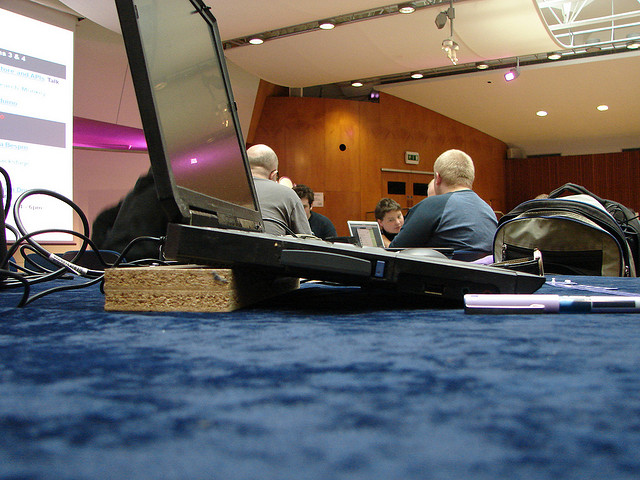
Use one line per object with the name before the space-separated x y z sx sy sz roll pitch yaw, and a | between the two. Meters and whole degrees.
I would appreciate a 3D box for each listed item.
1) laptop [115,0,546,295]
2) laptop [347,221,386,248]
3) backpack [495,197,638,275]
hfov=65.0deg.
laptop | -0.019 -0.095 0.588 0.461 0.296 0.411 2 4 13
laptop | 0.299 -0.034 2.971 0.234 0.157 0.153 8 -12 -27
backpack | 0.650 -0.005 1.295 0.235 0.167 0.235 24 -20 -30
